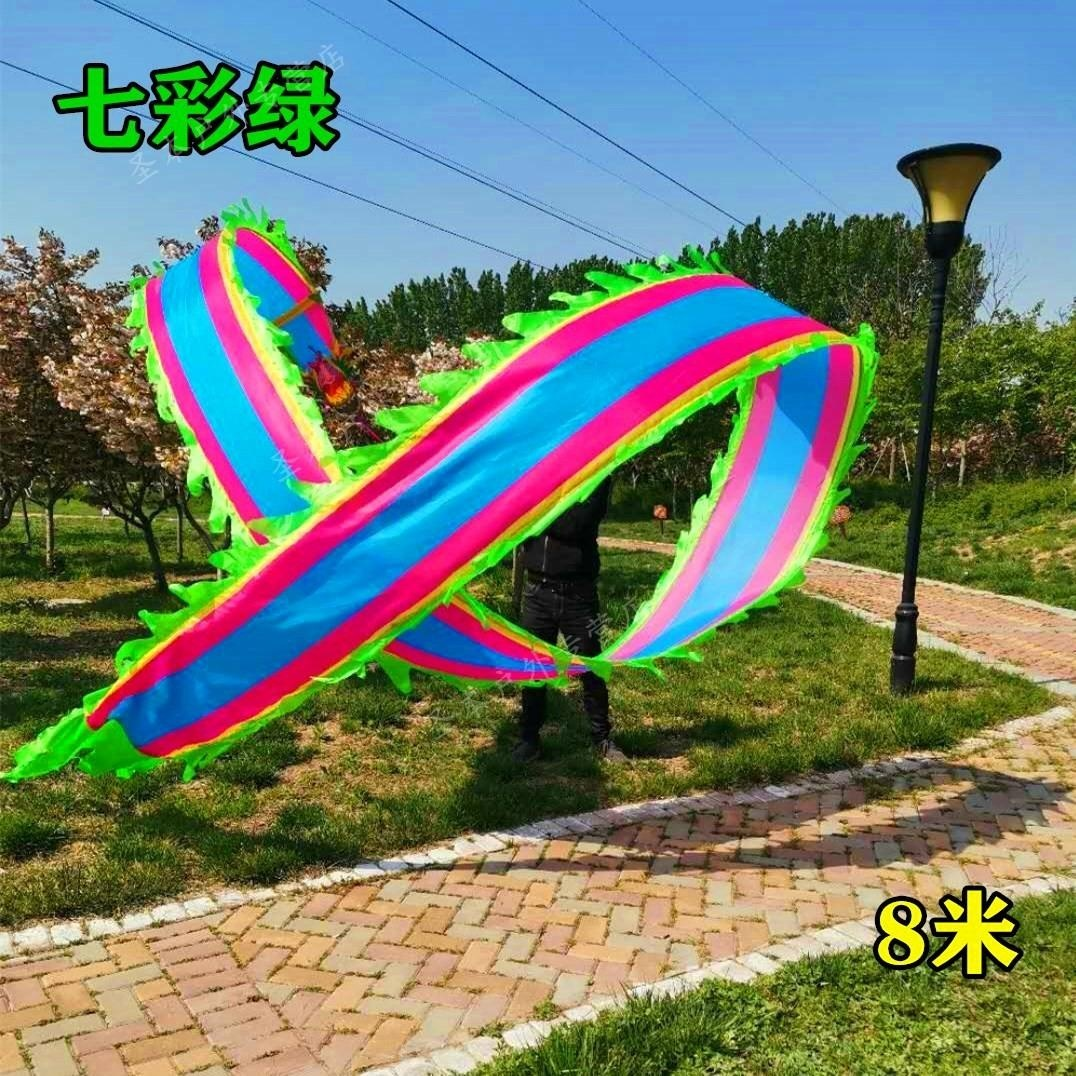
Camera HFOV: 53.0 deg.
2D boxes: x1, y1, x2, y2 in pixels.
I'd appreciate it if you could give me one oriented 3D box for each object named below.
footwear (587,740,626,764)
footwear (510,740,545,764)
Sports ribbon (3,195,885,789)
[{"bbox_3d":[0.484,1.442,7.318,0.168,0.038,0.157,3,17,9],"label":"footwear"},{"bbox_3d":[-0.079,1.416,7.165,0.188,0.136,0.040,14,-43,-7],"label":"footwear"},{"bbox_3d":[-1.205,-0.133,6.796,4.433,2.054,4.789,9,-36,-40],"label":"Sports ribbon"}]
